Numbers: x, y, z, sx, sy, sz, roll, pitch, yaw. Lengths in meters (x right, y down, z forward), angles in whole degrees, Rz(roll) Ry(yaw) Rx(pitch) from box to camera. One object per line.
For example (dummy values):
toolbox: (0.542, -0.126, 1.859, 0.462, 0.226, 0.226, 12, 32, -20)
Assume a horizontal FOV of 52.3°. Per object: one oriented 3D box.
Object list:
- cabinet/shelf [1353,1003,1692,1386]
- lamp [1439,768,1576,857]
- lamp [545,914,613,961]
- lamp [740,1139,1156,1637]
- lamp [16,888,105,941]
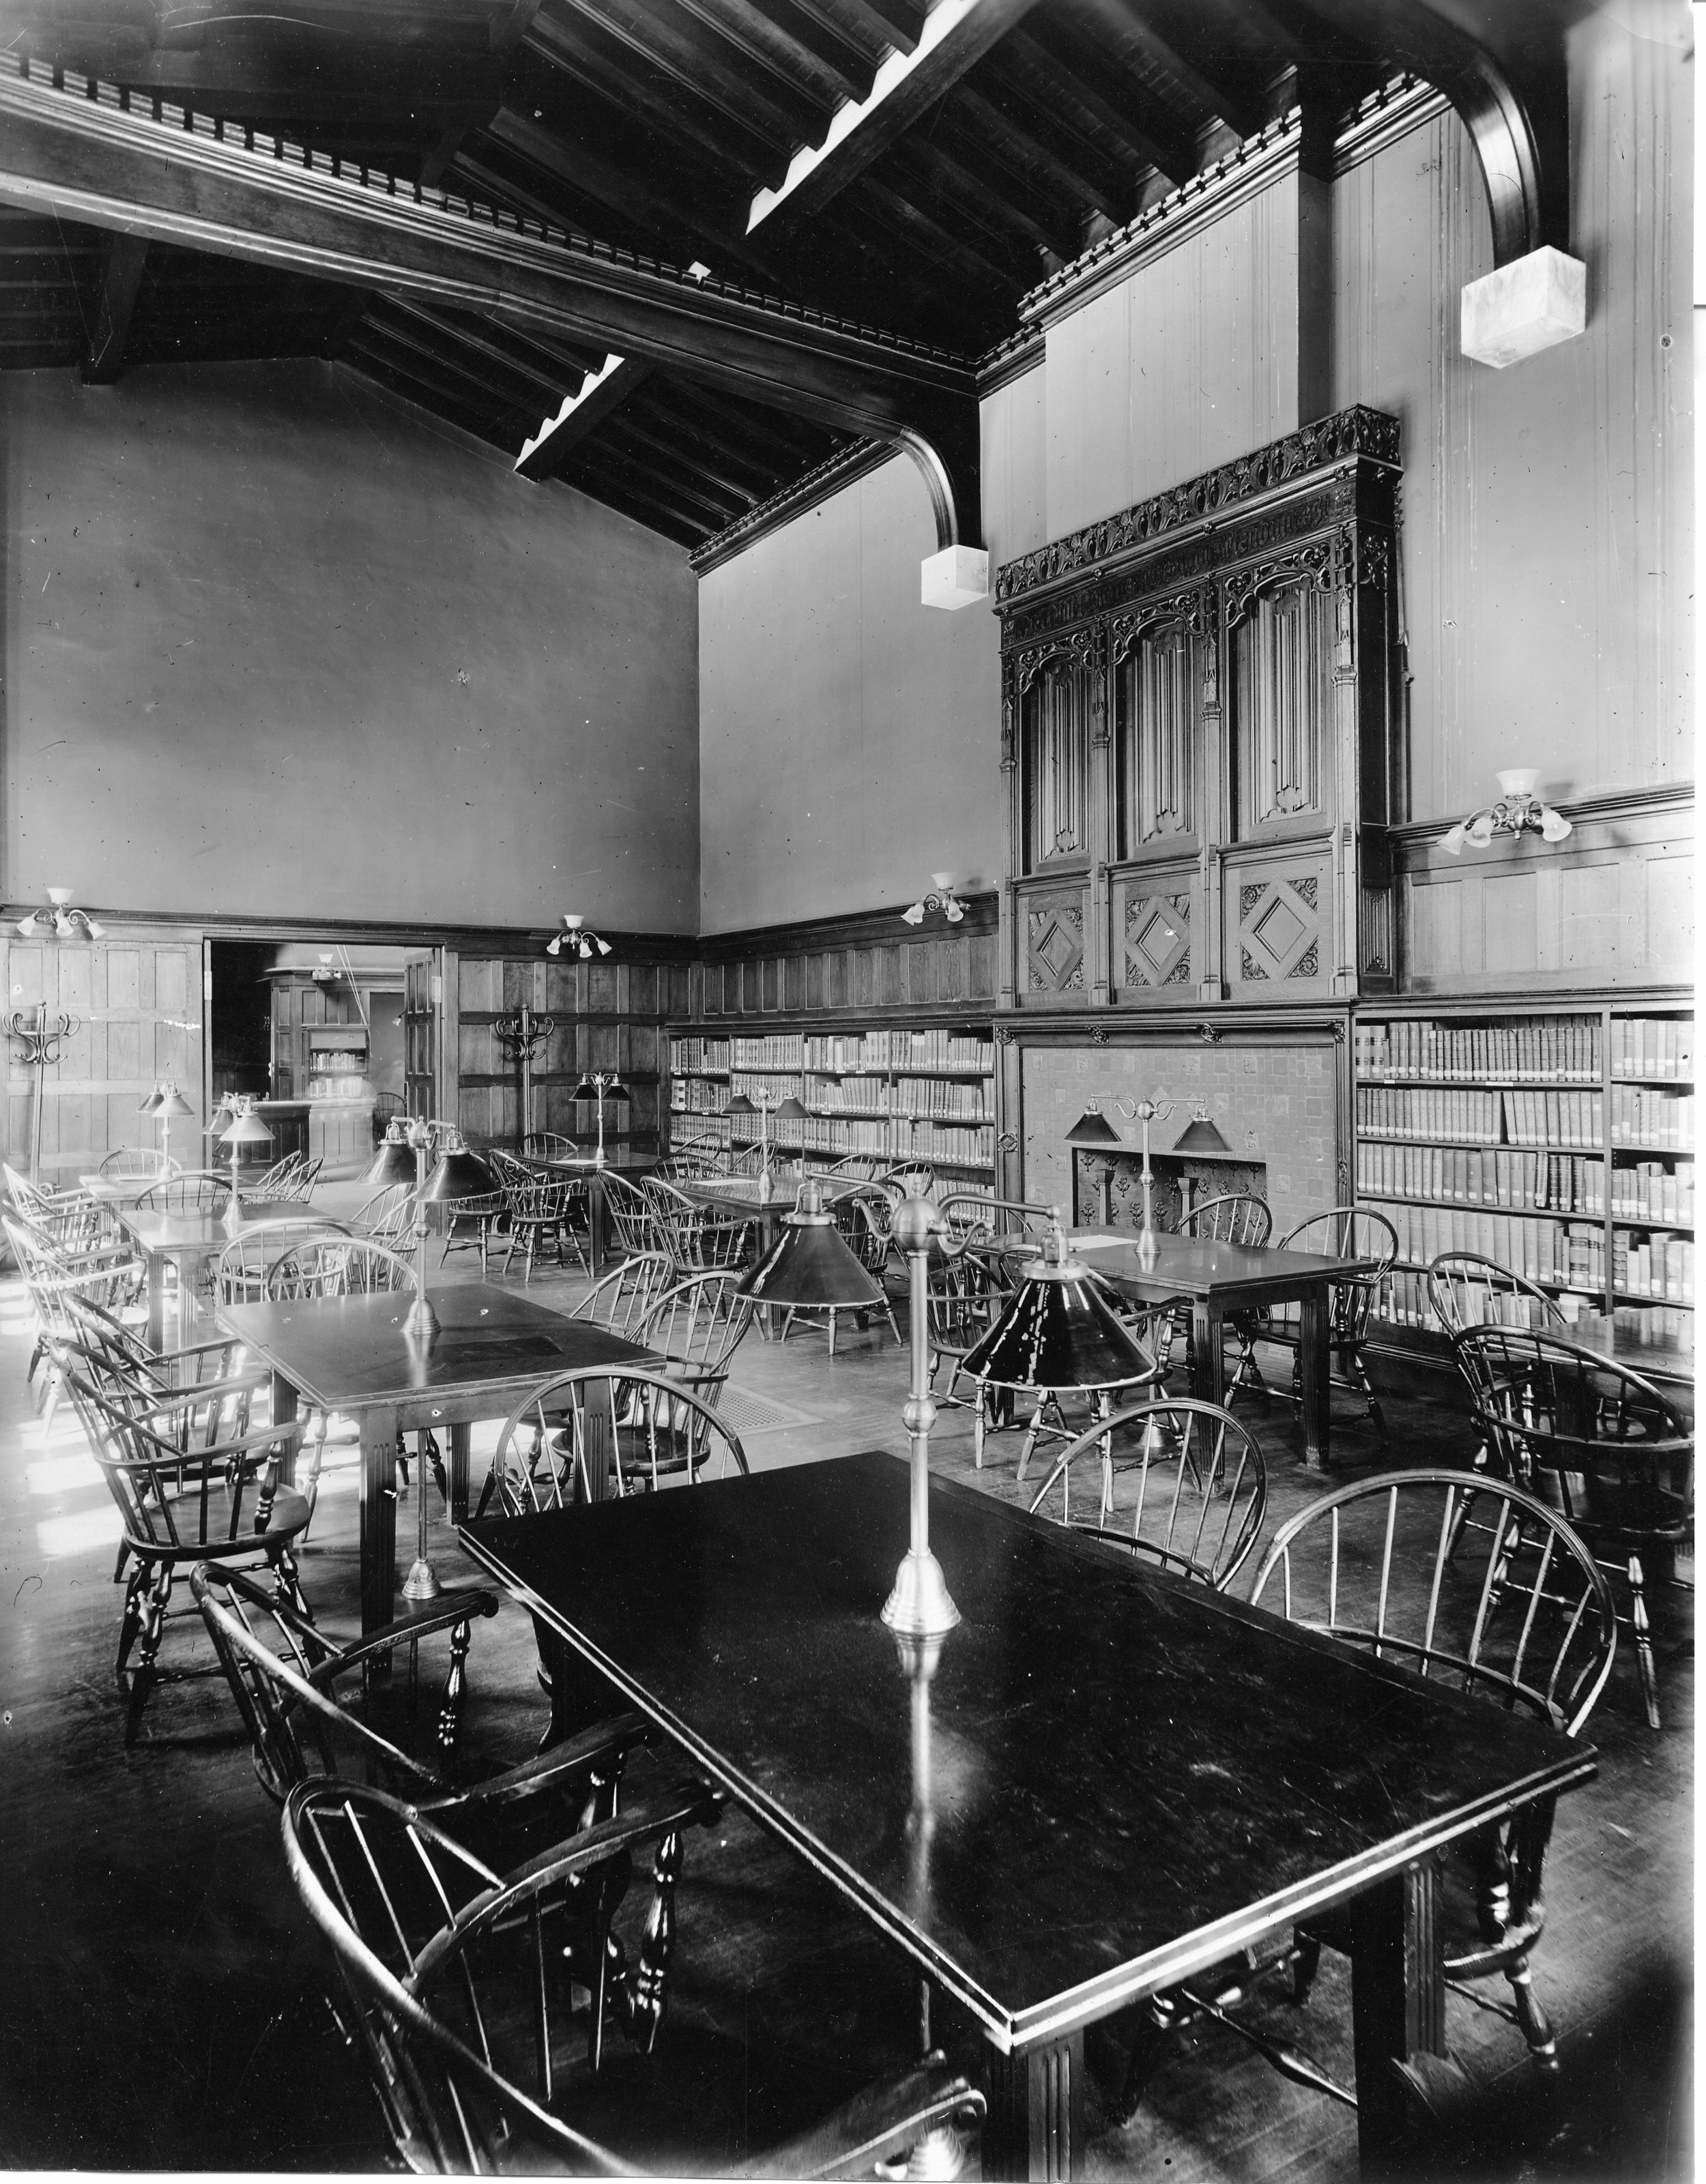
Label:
cabinet/shelf: (2.229, 0.252, 5.785, 0.198, 1.069, 1.453, 0, 1, -24)
lamp: (2.297, -0.945, 6.028, 0.252, 0.172, 0.282, 1, 0, -29)
lamp: (-2.002, -1.064, 12.585, 0.304, 0.315, 0.354, -2, -4, 18)
lamp: (0.260, 0.714, 4.340, 0.740, 1.630, 0.501, 0, -3, -1)
lamp: (-4.786, -1.062, 10.520, 0.480, 0.293, 0.586, 0, 1, -37)
